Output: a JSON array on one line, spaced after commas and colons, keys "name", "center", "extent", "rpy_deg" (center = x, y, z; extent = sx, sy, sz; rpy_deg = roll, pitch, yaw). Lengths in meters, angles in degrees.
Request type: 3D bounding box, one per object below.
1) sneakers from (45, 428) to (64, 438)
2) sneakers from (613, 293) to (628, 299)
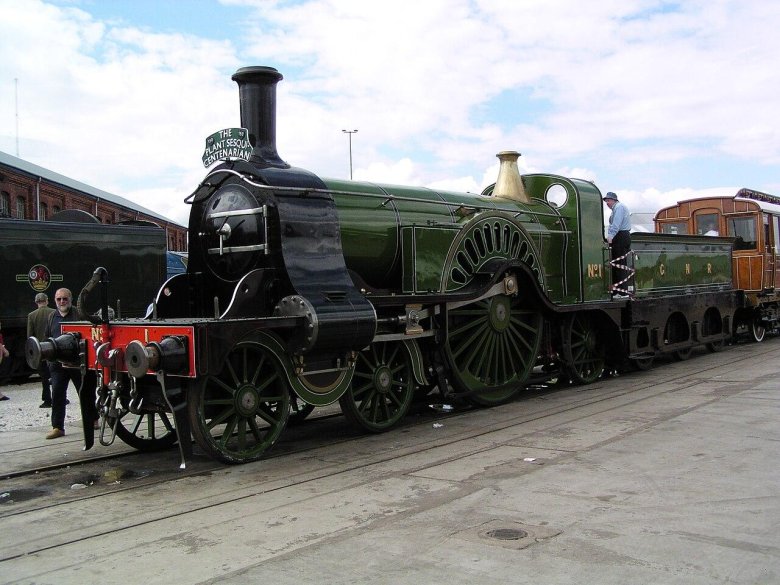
[{"name": "sneakers", "center": [-4.532, 1.896, 7.506], "extent": [0.101, 0.111, 0.284], "rpy_deg": [-2, -9, 31]}, {"name": "sneakers", "center": [4.804, 0.072, 11.844], "extent": [0.397, 0.157, 0.144], "rpy_deg": [3, 2, 18]}]
